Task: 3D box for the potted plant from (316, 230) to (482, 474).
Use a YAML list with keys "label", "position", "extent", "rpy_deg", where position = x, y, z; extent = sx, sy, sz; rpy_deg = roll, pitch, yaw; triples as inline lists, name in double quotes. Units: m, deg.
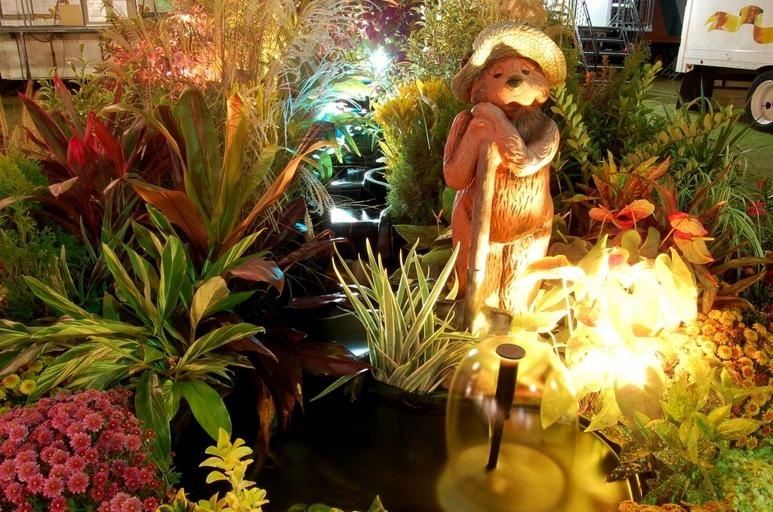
- label: "potted plant"
  position: [0.046, 0.262, 1.844]
  extent: [0.611, 0.525, 0.467]
  rpy_deg: [2, 15, -13]
